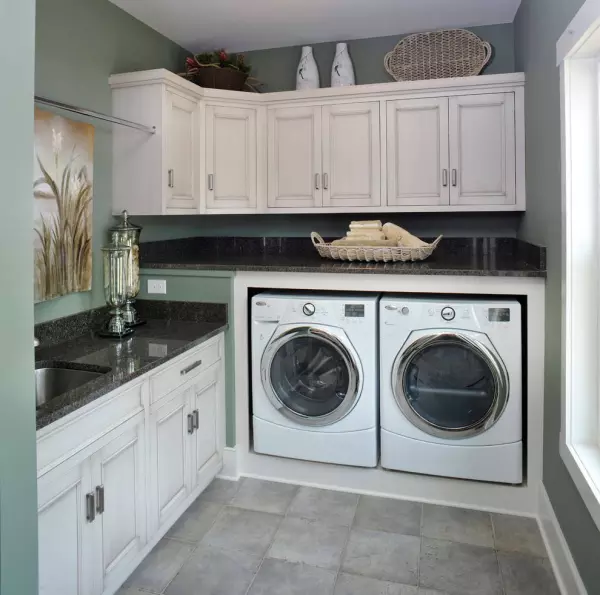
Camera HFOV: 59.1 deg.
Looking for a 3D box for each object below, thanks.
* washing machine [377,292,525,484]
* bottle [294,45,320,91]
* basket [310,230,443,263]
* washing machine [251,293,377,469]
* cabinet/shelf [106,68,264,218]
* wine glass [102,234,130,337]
[{"bbox_3d":[0.667,0.380,2.807,0.779,1.205,0.765,0,-1,15],"label":"washing machine"},{"bbox_3d":[0.045,-1.394,3.289,0.113,0.325,0.119,0,-5,0],"label":"bottle"},{"bbox_3d":[0.390,-0.235,2.817,0.484,0.124,0.292,2,2,16],"label":"basket"},{"bbox_3d":[0.106,0.355,2.836,0.661,0.892,0.621,1,13,5],"label":"washing machine"},{"bbox_3d":[-0.625,-0.780,3.104,0.653,0.925,0.936,1,5,12],"label":"cabinet/shelf"},{"bbox_3d":[-0.874,-0.047,2.582,0.160,0.449,0.154,-9,13,-40],"label":"wine glass"}]
